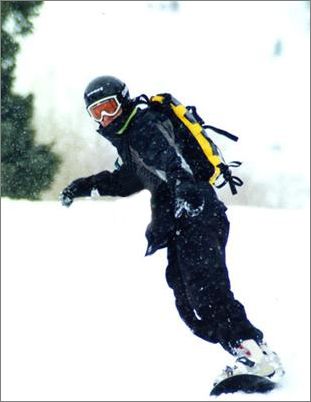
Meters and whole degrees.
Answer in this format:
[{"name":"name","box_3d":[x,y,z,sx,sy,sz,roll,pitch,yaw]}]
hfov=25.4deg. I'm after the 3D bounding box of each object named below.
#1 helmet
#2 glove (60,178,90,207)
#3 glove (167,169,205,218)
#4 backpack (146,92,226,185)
[{"name":"helmet","box_3d":[-0.477,-1.108,7.060,0.315,0.308,0.385,-12,26,39]},{"name":"glove","box_3d":[-0.867,-0.099,7.498,0.355,0.233,0.125,-36,13,-28]},{"name":"glove","box_3d":[0.287,-0.070,6.419,0.308,0.190,0.452,-12,62,4]},{"name":"backpack","box_3d":[0.391,-0.621,6.986,0.398,1.088,0.665,-36,8,7]}]
